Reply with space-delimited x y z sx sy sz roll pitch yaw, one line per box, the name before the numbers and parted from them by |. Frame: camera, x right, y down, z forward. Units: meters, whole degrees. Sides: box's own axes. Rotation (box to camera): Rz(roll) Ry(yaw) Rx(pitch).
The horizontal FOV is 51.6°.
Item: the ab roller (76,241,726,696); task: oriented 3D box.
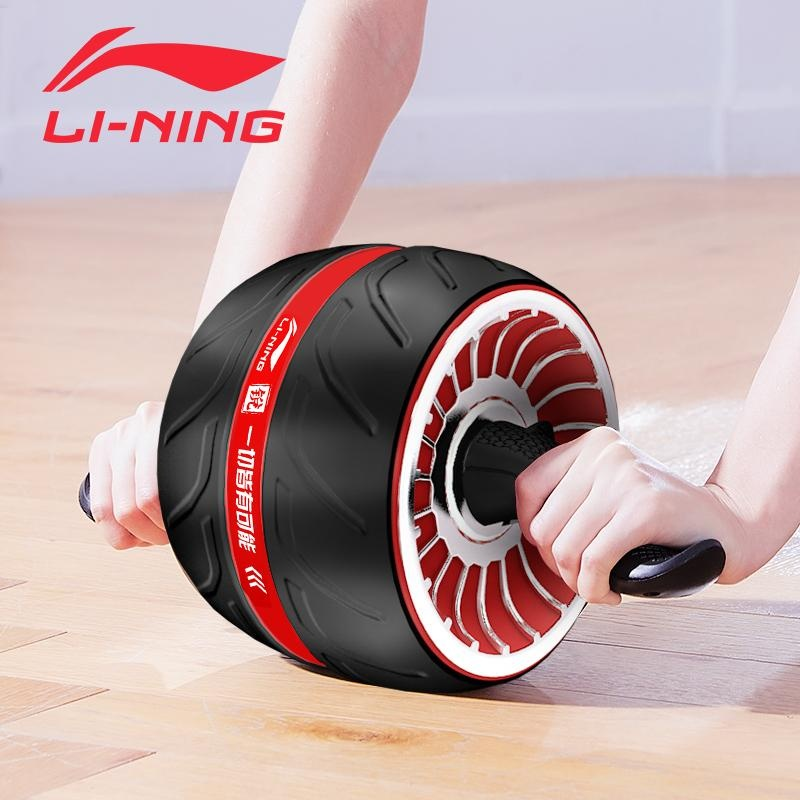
ab roller | -0.015 0.011 0.577 0.375 0.208 0.270 11 17 33
